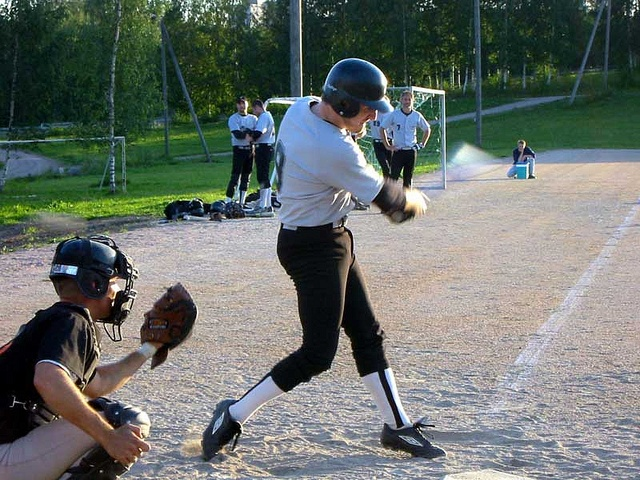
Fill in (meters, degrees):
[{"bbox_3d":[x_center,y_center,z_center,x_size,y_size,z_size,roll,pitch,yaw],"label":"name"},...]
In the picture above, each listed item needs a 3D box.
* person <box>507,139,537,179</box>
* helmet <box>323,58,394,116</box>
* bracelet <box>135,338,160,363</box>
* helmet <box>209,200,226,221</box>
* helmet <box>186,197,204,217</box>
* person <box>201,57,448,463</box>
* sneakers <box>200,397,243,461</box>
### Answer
[{"bbox_3d":[5.398,-2.198,22.771,0.847,0.901,0.872,8,21,38],"label":"person"},{"bbox_3d":[0.230,-1.169,6.246,0.705,0.310,0.476,8,23,-14],"label":"helmet"},{"bbox_3d":[-1.179,0.759,5.814,0.155,0.101,0.150,19,-14,-41],"label":"bracelet"},{"bbox_3d":[-1.898,-0.549,15.650,0.300,0.309,0.375,11,23,32],"label":"helmet"},{"bbox_3d":[-2.360,-0.614,15.993,0.254,0.227,0.382,-7,15,1],"label":"helmet"},{"bbox_3d":[0.029,0.137,6.294,1.617,2.896,0.771,-3,13,3],"label":"person"},{"bbox_3d":[-0.703,1.403,6.318,0.281,0.515,0.195,-3,-39,26],"label":"sneakers"}]
